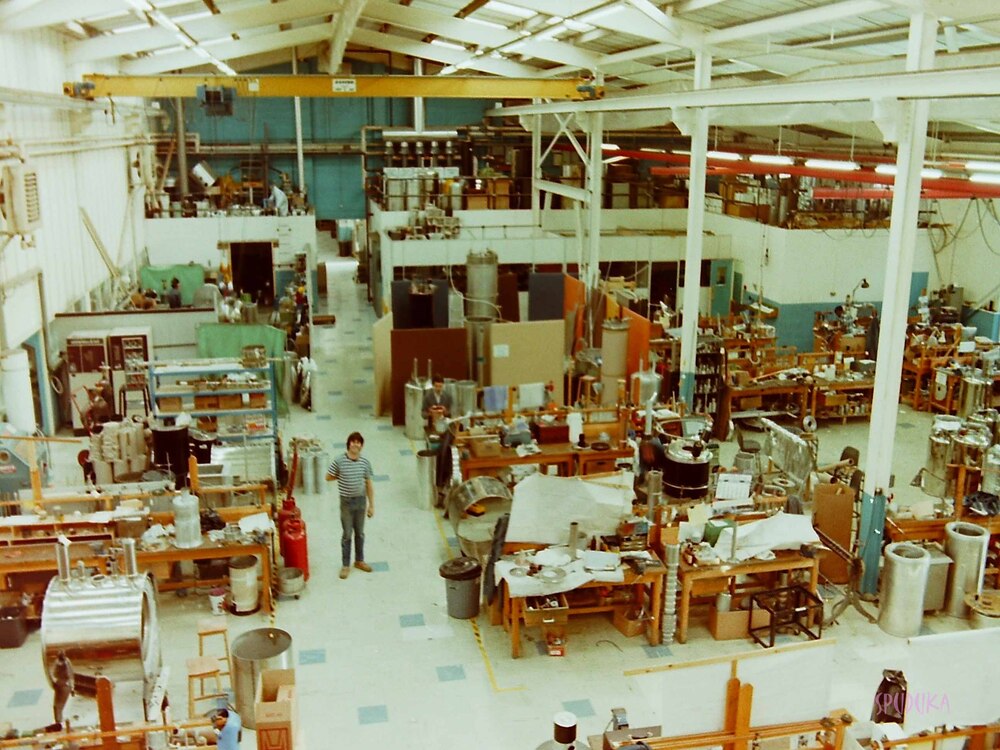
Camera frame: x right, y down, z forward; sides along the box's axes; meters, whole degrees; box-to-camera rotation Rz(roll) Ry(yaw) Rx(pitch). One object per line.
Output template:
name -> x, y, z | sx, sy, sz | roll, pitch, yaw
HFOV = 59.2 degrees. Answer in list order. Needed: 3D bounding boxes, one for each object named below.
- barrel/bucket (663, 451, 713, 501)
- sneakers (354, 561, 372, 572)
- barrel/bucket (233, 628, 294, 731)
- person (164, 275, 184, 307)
barrel/bucket -> 2.109, 1.060, 9.882 | 0.546, 0.444, 0.534 | 1, 17, 0
sneakers -> -1.556, 2.175, 10.069 | 0.225, 0.075, 0.083 | 11, 13, 34
barrel/bucket -> -2.165, 2.745, 7.978 | 0.549, 0.852, 0.406 | -2, 10, 0
person -> -6.702, -1.730, 18.106 | 0.317, 0.566, 1.244 | -5, 9, -19
